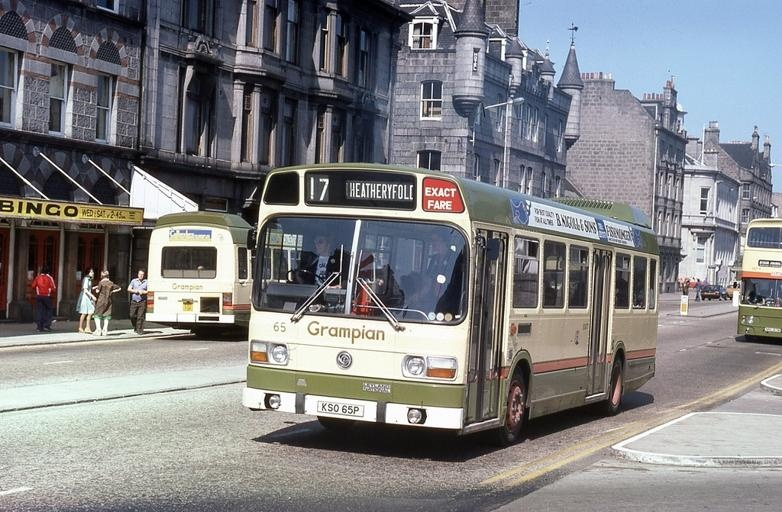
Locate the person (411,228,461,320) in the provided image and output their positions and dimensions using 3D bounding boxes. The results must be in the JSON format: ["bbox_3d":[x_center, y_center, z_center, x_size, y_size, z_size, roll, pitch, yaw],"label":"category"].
[{"bbox_3d":[0.809,0.273,13.590,0.676,1.377,0.240,2,2,6],"label":"person"}]

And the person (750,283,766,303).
[{"bbox_3d":[15.563,1.593,37.962,0.684,1.313,0.684,-1,1,13],"label":"person"}]
